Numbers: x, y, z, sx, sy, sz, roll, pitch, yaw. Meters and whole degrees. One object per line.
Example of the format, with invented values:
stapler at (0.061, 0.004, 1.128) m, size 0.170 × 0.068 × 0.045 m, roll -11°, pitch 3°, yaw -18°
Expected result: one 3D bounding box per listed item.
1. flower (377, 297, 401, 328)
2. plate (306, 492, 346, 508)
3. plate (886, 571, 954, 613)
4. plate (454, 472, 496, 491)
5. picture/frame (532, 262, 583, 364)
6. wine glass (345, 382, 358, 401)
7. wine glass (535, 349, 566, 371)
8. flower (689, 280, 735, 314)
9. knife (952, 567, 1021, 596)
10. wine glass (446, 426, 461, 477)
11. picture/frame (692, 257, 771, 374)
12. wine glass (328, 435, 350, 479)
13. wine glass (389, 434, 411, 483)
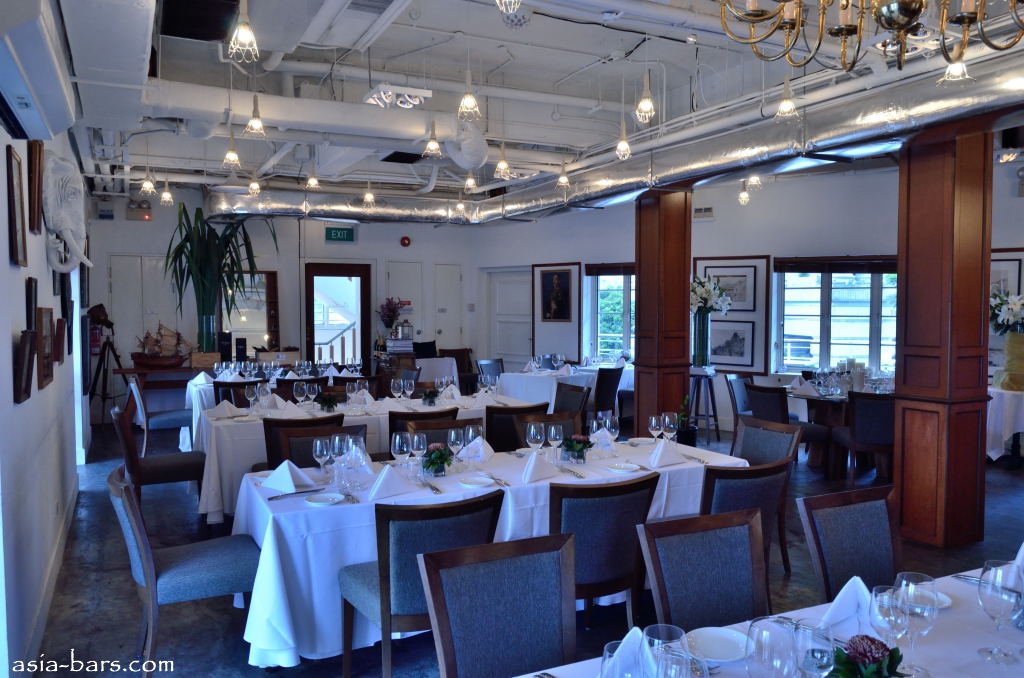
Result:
flower at (-2.373, -0.489, 14.565) m, size 0.428 × 0.572 × 0.487 m, roll 2°, pitch -5°, yaw -14°
plate at (-1.201, 1.036, 4.990) m, size 0.257 × 0.038 × 0.187 m, roll -3°, pitch 1°, yaw -5°
plate at (1.922, 1.202, 3.648) m, size 0.231 × 0.218 × 0.287 m, roll -1°, pitch -3°, yaw -8°
plate at (-0.259, 0.977, 5.308) m, size 0.263 × 0.067 × 0.337 m, roll -3°, pitch 1°, yaw -11°
picture/frame at (0.810, -0.455, 13.390) m, size 0.107 × 2.853 × 1.389 m, roll -5°, pitch 8°, yaw -38°
wine glass at (-1.643, 0.532, 7.758) m, size 0.135 × 0.255 × 0.152 m, roll 3°, pitch -4°, yaw -26°
wine glass at (0.542, 0.328, 11.127) m, size 0.285 × 0.373 × 0.319 m, roll 0°, pitch -4°, yaw 14°
flower at (2.752, -0.617, 10.850) m, size 0.471 × 0.546 × 0.502 m, roll 0°, pitch 9°, yaw 2°
knife at (2.390, 1.258, 4.046) m, size 0.229 × 0.065 × 0.222 m, roll 0°, pitch 3°, yaw 31°
wine glass at (-0.406, 0.793, 5.606) m, size 0.120 × 0.288 × 0.329 m, roll -2°, pitch 2°, yaw -5°
picture/frame at (3.183, -0.316, 11.104) m, size 0.086 × 2.381 × 1.416 m, roll -4°, pitch 5°, yaw -40°
wine glass at (-1.201, 0.812, 5.350) m, size 0.132 × 0.323 × 0.357 m, roll -3°, pitch 2°, yaw -18°
wine glass at (-0.789, 0.807, 5.488) m, size 0.141 × 0.307 × 0.273 m, roll -3°, pitch 2°, yaw -9°
